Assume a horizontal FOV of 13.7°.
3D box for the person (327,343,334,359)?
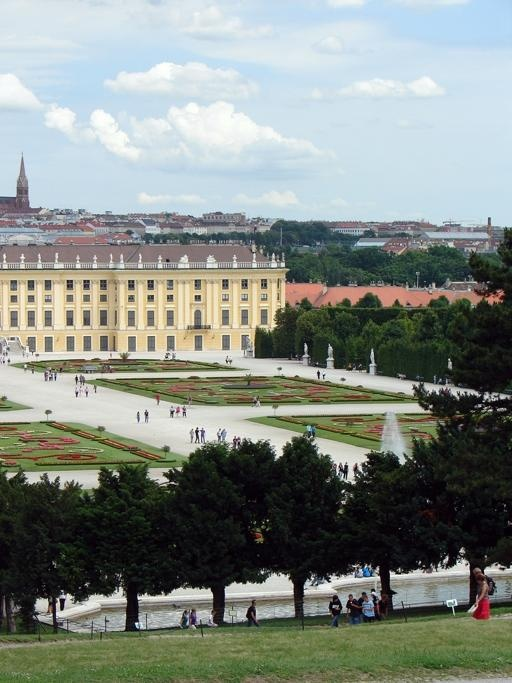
[{"bbox_3d":[4.476,0.611,129.991,0.317,0.931,0.653,-1,-5,6],"label":"person"}]
